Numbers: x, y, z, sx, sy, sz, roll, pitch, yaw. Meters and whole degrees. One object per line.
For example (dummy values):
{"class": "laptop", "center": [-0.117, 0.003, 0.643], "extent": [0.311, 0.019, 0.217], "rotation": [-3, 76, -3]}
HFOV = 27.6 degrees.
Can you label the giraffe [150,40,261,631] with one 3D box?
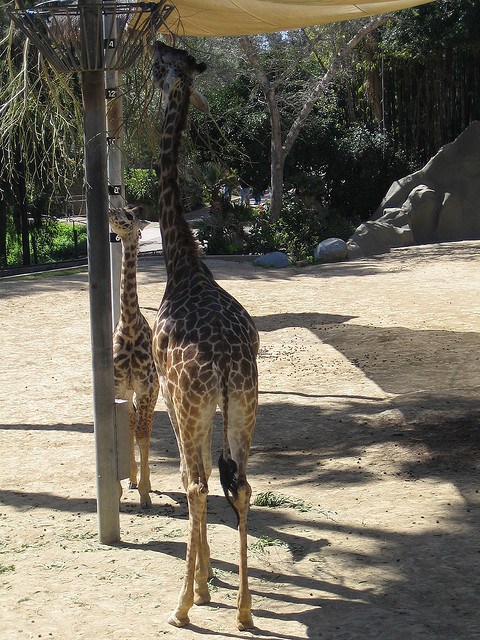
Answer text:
{"class": "giraffe", "center": [-0.194, -0.046, 5.105], "extent": [0.547, 2.890, 1.371], "rotation": [-3, 10, -5]}
